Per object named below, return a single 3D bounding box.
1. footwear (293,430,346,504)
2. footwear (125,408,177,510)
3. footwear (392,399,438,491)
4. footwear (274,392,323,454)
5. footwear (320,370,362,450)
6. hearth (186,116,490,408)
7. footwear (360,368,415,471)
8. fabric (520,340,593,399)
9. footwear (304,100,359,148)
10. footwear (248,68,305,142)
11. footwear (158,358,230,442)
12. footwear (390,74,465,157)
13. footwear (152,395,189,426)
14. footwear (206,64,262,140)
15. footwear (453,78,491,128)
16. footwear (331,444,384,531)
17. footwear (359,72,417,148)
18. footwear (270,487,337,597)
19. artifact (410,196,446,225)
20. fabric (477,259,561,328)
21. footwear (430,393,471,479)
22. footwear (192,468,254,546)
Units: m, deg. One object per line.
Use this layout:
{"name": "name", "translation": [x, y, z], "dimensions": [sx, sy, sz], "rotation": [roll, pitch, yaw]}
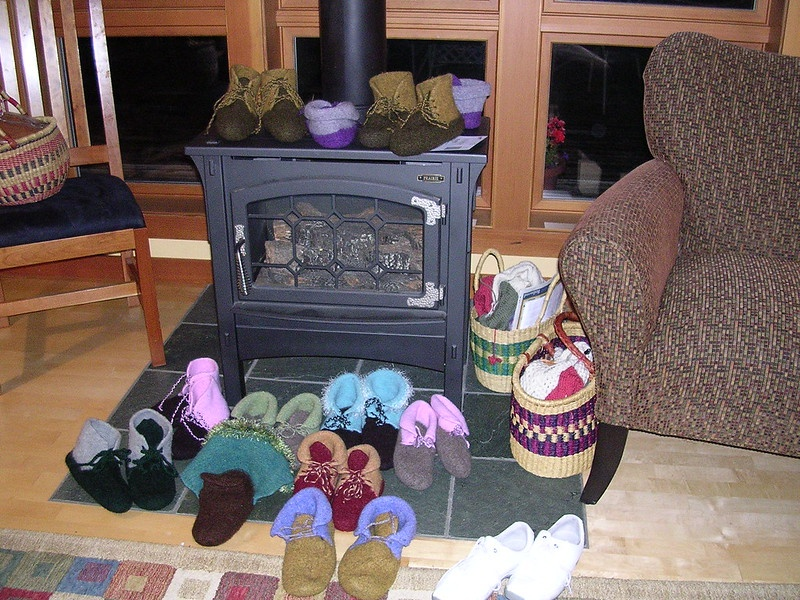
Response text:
{"name": "footwear", "translation": [-0.222, 0.472, 1.785], "dimensions": [0.140, 0.101, 0.271], "rotation": [1, 31, 4]}
{"name": "footwear", "translation": [-0.714, 0.465, 1.850], "dimensions": [0.149, 0.128, 0.373], "rotation": [2, 10, -21]}
{"name": "footwear", "translation": [0.047, 0.424, 1.888], "dimensions": [0.131, 0.082, 0.259], "rotation": [2, 55, -1]}
{"name": "footwear", "translation": [-0.314, 0.373, 1.976], "dimensions": [0.100, 0.053, 0.178], "rotation": [15, 38, 5]}
{"name": "footwear", "translation": [-0.175, 0.332, 1.957], "dimensions": [0.111, 0.080, 0.206], "rotation": [0, 59, 8]}
{"name": "hearth", "translation": [-0.237, -0.083, 2.279], "dimensions": [1.091, 0.963, 0.715], "rotation": [3, 31, 4]}
{"name": "footwear", "translation": [-0.049, 0.355, 1.996], "dimensions": [0.161, 0.114, 0.323], "rotation": [3, 38, -2]}
{"name": "fabric", "translation": [0.458, 0.175, 1.837], "dimensions": [0.129, 0.077, 0.218], "rotation": [12, 25, 23]}
{"name": "footwear", "translation": [-0.192, -0.490, 1.828], "dimensions": [0.132, 0.068, 0.149], "rotation": [1, 35, 4]}
{"name": "footwear", "translation": [-0.353, -0.573, 1.877], "dimensions": [0.111, 0.107, 0.298], "rotation": [-5, 35, -12]}
{"name": "footwear", "translation": [-0.632, 0.282, 1.989], "dimensions": [0.196, 0.098, 0.273], "rotation": [6, 40, -27]}
{"name": "footwear", "translation": [0.078, -0.526, 1.803], "dimensions": [0.146, 0.194, 0.255], "rotation": [8, 26, 20]}
{"name": "footwear", "translation": [-0.718, 0.344, 2.033], "dimensions": [0.103, 0.024, 0.098], "rotation": [-11, 38, -46]}
{"name": "footwear", "translation": [-0.500, -0.604, 1.964], "dimensions": [0.115, 0.130, 0.330], "rotation": [6, 42, -10]}
{"name": "footwear", "translation": [0.204, -0.618, 2.007], "dimensions": [0.151, 0.137, 0.150], "rotation": [15, 28, 32]}
{"name": "footwear", "translation": [-0.122, 0.510, 1.764], "dimensions": [0.138, 0.091, 0.278], "rotation": [8, 35, 7]}
{"name": "footwear", "translation": [-0.017, -0.558, 1.841], "dimensions": [0.108, 0.119, 0.301], "rotation": [3, 47, 11]}
{"name": "footwear", "translation": [-0.234, 0.594, 1.576], "dimensions": [0.134, 0.082, 0.237], "rotation": [-1, 44, -1]}
{"name": "artifact", "translation": [0.081, -0.256, 1.809], "dimensions": [0.086, 0.063, 0.024], "rotation": [30, 27, 2]}
{"name": "fabric", "translation": [0.386, -0.023, 2.076], "dimensions": [0.192, 0.091, 0.243], "rotation": [3, 15, 17]}
{"name": "footwear", "translation": [0.155, 0.402, 1.915], "dimensions": [0.101, 0.074, 0.236], "rotation": [-11, 52, -23]}
{"name": "footwear", "translation": [-0.486, 0.547, 1.747], "dimensions": [0.149, 0.110, 0.262], "rotation": [5, 19, 5]}
